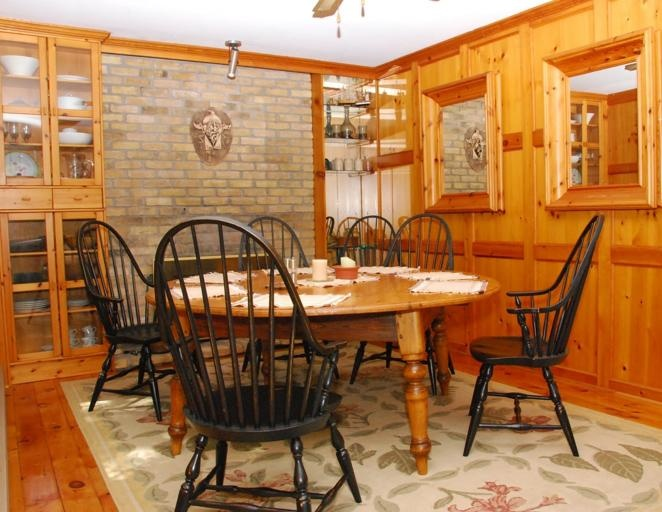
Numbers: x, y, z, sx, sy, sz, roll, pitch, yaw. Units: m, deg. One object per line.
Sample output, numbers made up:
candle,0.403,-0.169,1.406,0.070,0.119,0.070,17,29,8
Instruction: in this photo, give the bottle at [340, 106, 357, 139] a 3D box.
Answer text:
bottle,0.151,-1.256,4.935,0.152,0.300,0.053,-11,15,-34

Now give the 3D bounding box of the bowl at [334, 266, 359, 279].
bowl,0.082,0.094,3.010,0.101,0.044,0.102,0,0,0

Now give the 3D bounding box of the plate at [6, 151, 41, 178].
plate,-2.238,-0.662,3.792,0.215,0.189,0.080,-6,12,-20

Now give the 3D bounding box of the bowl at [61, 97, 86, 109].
bowl,-1.933,-1.143,3.916,0.146,0.035,0.096,2,7,9

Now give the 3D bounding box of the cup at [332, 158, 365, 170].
cup,0.176,-0.861,4.964,0.249,0.057,0.158,1,1,-4

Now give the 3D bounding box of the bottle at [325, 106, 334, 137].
bottle,-0.020,-1.241,4.861,0.109,0.290,0.042,-13,16,-37

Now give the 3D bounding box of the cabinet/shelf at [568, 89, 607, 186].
cabinet/shelf,1.720,-0.752,3.501,0.275,0.653,0.123,12,37,40

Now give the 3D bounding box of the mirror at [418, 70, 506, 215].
mirror,1.064,-0.867,4.199,0.137,1.067,0.977,-11,15,-21

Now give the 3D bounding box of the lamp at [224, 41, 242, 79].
lamp,-0.726,-1.434,3.826,0.151,0.211,0.117,7,26,2

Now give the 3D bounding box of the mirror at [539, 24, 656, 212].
mirror,1.715,-0.831,3.371,0.315,1.072,0.815,-9,12,-23

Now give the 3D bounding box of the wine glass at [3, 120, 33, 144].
wine glass,-2.249,-0.882,3.789,0.202,0.149,0.171,3,1,-21

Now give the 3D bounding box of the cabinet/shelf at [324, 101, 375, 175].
cabinet/shelf,0.179,-1.114,5.049,0.336,0.615,0.780,2,19,-14
